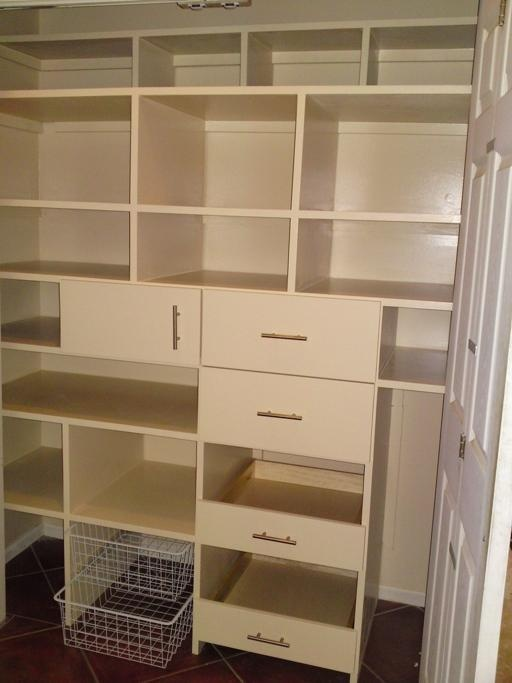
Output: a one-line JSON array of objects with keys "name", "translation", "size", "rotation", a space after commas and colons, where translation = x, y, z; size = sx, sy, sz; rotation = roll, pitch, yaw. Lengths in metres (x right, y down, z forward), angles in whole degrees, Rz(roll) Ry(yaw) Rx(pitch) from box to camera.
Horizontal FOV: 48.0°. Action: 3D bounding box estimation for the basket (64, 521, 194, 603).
[{"name": "basket", "translation": [-0.537, 0.887, 2.417], "size": [0.459, 0.316, 0.245], "rotation": [3, -84, 17]}]
